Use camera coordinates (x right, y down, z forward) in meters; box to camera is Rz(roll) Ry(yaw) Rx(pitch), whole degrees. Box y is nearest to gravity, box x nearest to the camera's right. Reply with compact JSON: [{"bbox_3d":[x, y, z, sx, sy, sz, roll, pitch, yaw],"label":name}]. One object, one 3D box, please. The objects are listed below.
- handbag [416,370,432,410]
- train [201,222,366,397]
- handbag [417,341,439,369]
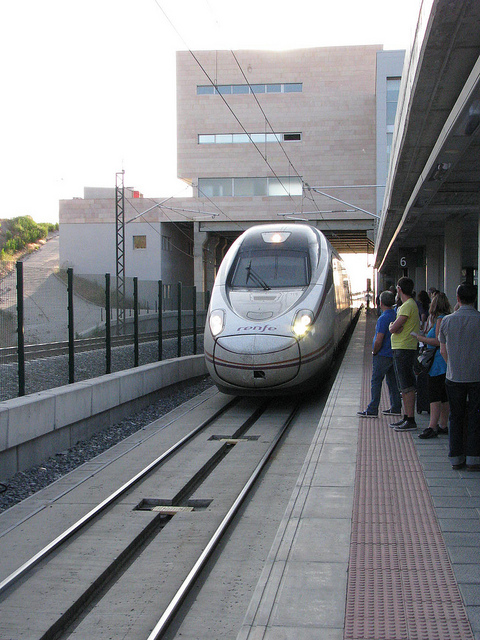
[{"bbox_3d":[2.375,0.889,7.391,0.227,0.479,0.259,-5,-8,27],"label":"handbag"},{"bbox_3d":[0.537,-0.336,9.769,1.681,2.845,2.611,-14,-2,36],"label":"train"},{"bbox_3d":[1.900,0.363,5.879,0.185,0.329,0.310,3,-5,22],"label":"handbag"}]
